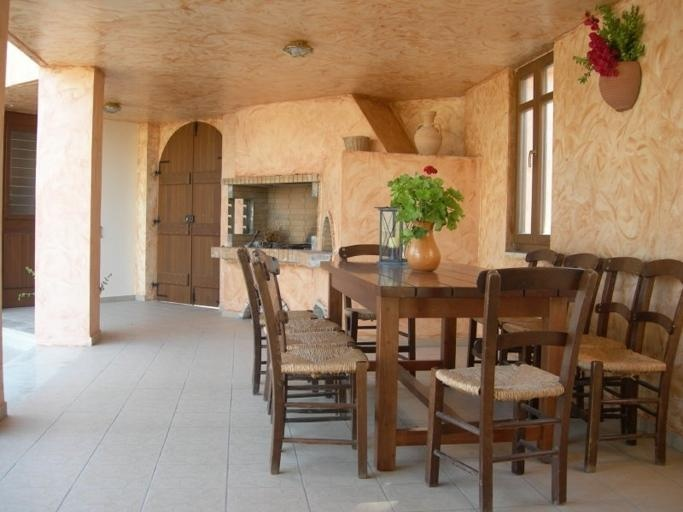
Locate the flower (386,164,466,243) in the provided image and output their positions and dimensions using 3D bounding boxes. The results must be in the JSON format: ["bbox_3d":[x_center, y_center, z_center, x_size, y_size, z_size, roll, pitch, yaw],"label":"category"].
[{"bbox_3d":[0.649,-0.366,4.088,0.662,0.617,0.610,-1,6,-17],"label":"flower"}]

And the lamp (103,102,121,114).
[{"bbox_3d":[-3.248,-2.103,7.765,0.236,0.080,0.340,-1,3,-24],"label":"lamp"}]

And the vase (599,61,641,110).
[{"bbox_3d":[2.088,-1.253,4.059,0.339,0.302,0.309,-2,4,-24],"label":"vase"}]

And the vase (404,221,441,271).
[{"bbox_3d":[0.601,-0.063,3.888,0.273,0.320,0.246,-2,8,9],"label":"vase"}]

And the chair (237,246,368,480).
[{"bbox_3d":[-0.262,0.758,3.860,0.653,0.939,1.541,-2,1,-8],"label":"chair"}]

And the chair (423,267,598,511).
[{"bbox_3d":[0.875,0.659,2.955,0.822,1.232,0.658,0,4,-6],"label":"chair"}]

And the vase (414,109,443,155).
[{"bbox_3d":[1.002,-1.402,6.347,0.300,0.541,0.429,1,4,7],"label":"vase"}]

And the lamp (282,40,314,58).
[{"bbox_3d":[-0.418,-1.989,5.289,0.293,0.105,0.189,0,3,-3],"label":"lamp"}]
